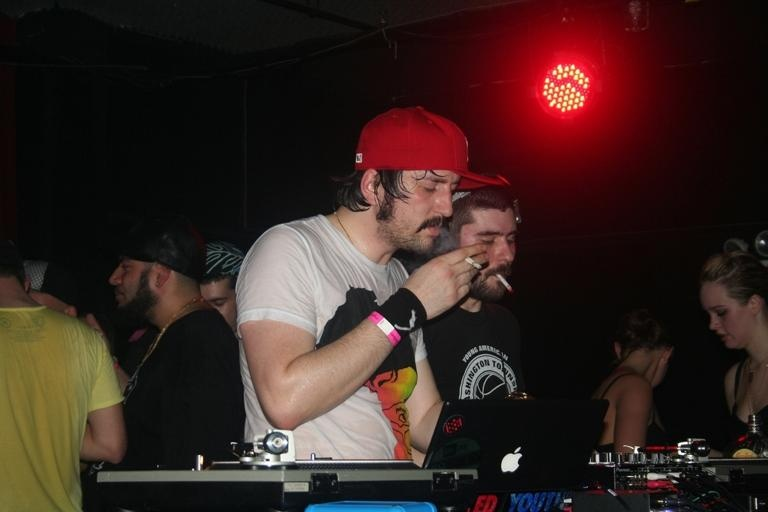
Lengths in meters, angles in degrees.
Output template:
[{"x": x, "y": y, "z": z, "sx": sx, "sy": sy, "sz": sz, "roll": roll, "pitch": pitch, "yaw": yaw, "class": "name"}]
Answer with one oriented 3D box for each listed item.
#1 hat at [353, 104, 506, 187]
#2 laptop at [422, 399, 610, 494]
[{"x": 0.261, "y": -0.585, "z": 3.610, "sx": 0.859, "sy": 0.431, "sz": 0.521, "roll": 8, "pitch": 2, "yaw": 20, "class": "hat"}, {"x": 0.554, "y": 0.763, "z": 2.720, "sx": 0.609, "sy": 0.305, "sz": 0.451, "roll": 2, "pitch": -5, "yaw": -15, "class": "laptop"}]
